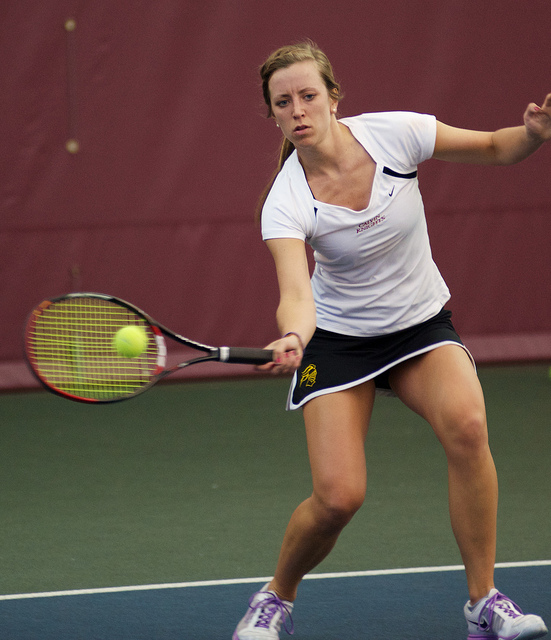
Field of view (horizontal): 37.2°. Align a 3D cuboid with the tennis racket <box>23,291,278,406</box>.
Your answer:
[{"bbox_3d":[-0.256,0.088,2.172,0.878,0.308,0.057,5,-33,-41],"label":"tennis racket"}]

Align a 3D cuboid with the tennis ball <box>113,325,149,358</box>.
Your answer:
[{"bbox_3d":[-0.343,0.053,1.978,0.083,0.072,0.076,-1,11,0],"label":"tennis ball"}]
